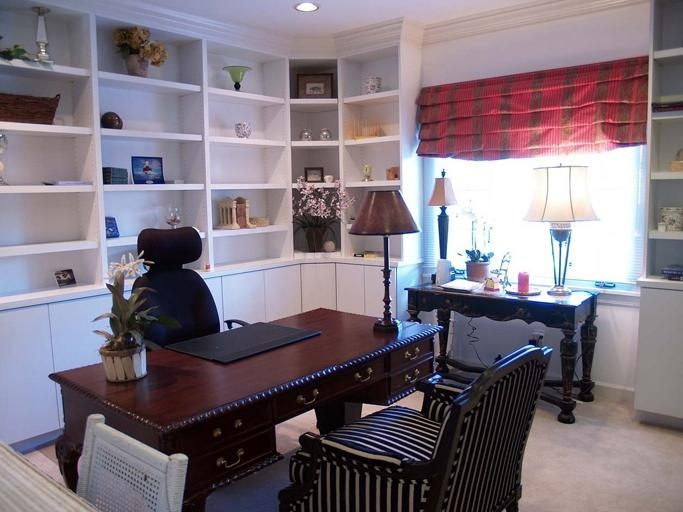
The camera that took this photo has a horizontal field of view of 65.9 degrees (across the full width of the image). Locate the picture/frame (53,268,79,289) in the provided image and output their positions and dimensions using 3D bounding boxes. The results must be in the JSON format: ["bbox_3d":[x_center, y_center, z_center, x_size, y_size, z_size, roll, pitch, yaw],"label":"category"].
[{"bbox_3d":[-2.095,0.162,4.015,0.150,0.112,0.153,-8,17,-31],"label":"picture/frame"}]

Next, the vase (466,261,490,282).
[{"bbox_3d":[1.127,0.122,4.378,0.177,0.159,0.169,2,3,2],"label":"vase"}]

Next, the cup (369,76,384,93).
[{"bbox_3d":[0.311,-1.592,4.942,0.144,0.154,0.143,1,4,0],"label":"cup"}]

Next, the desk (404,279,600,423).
[{"bbox_3d":[1.286,0.701,4.393,1.368,0.884,0.691,5,8,37],"label":"desk"}]

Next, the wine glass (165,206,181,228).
[{"bbox_3d":[-1.406,-0.326,4.428,0.117,0.188,0.313,-3,15,-17],"label":"wine glass"}]

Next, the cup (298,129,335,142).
[{"bbox_3d":[-0.240,-1.180,5.172,0.336,0.122,0.143,2,11,18],"label":"cup"}]

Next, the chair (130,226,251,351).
[{"bbox_3d":[-1.114,0.168,3.605,0.770,0.921,0.643,0,7,44],"label":"chair"}]

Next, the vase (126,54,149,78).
[{"bbox_3d":[-1.593,-1.490,4.150,0.164,0.184,0.164,-2,6,-6],"label":"vase"}]

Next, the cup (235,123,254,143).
[{"bbox_3d":[-0.890,-1.160,4.890,0.169,0.157,0.186,0,4,0],"label":"cup"}]

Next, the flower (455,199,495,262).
[{"bbox_3d":[1.164,-0.228,4.604,0.347,0.443,0.594,4,15,13],"label":"flower"}]

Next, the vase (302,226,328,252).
[{"bbox_3d":[-0.262,-0.175,5.403,0.250,0.254,0.240,1,-1,-42],"label":"vase"}]

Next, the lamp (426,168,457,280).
[{"bbox_3d":[0.881,-0.290,4.660,0.242,0.931,0.639,4,15,11],"label":"lamp"}]

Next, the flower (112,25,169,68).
[{"bbox_3d":[-1.574,-1.650,4.118,0.378,0.276,0.181,-2,15,-13],"label":"flower"}]

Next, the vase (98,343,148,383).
[{"bbox_3d":[-1.023,0.511,2.493,0.181,0.128,0.176,-1,5,-2],"label":"vase"}]

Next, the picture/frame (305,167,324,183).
[{"bbox_3d":[-0.274,-0.817,5.277,0.181,0.170,0.026,-2,9,-11],"label":"picture/frame"}]

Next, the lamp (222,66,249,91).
[{"bbox_3d":[-0.955,-1.616,4.799,0.247,0.248,0.247,-3,5,-18],"label":"lamp"}]
